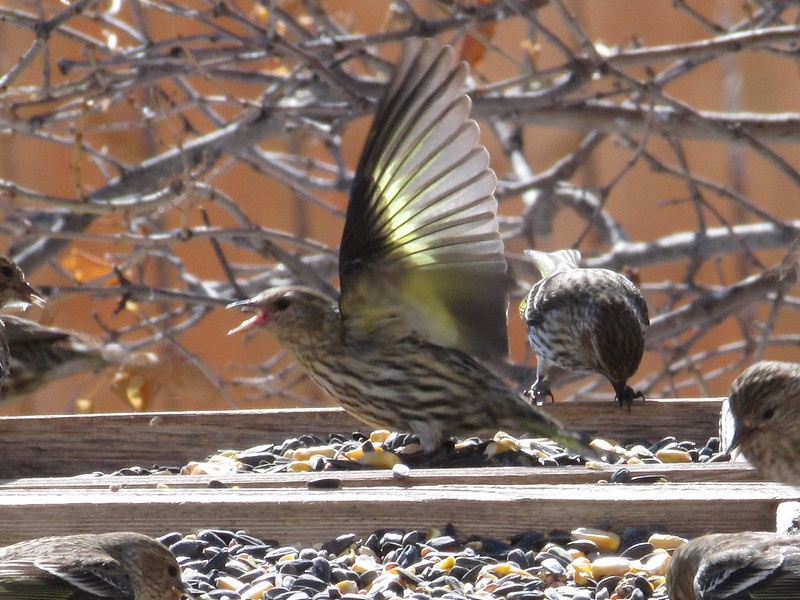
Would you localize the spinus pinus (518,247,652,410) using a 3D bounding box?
[{"bbox_3d":[1.031,0.159,7.288,0.441,1.090,0.468,1,-52,-14],"label":"spinus pinus"}]
